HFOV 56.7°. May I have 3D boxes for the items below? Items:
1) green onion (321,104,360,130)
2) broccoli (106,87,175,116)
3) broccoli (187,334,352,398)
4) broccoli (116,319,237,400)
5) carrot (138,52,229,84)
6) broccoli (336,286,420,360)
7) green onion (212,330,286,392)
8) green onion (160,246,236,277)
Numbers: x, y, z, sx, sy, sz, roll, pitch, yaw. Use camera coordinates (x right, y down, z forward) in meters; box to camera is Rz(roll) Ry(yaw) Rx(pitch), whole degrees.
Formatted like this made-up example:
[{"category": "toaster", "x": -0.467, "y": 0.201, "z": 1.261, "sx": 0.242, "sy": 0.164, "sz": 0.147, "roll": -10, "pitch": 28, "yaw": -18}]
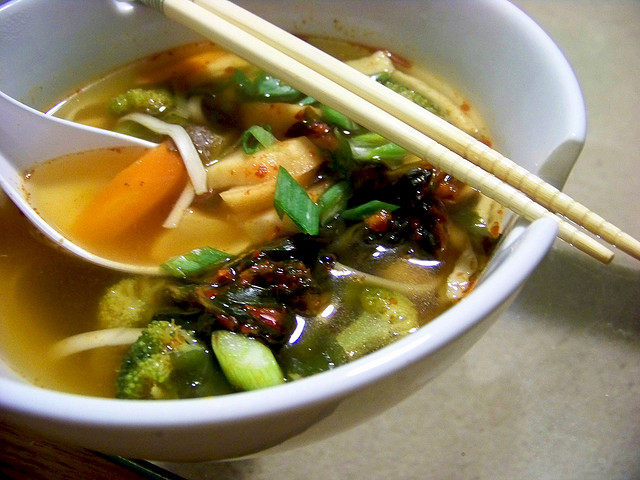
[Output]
[{"category": "green onion", "x": 0.052, "y": -0.321, "z": 1.570, "sx": 0.088, "sy": 0.075, "sz": 0.031, "roll": 39, "pitch": 102, "yaw": 25}, {"category": "broccoli", "x": -0.527, "y": -0.409, "z": 1.738, "sx": 0.261, "sy": 0.068, "sz": 0.162, "roll": 7, "pitch": 18, "yaw": 24}, {"category": "broccoli", "x": -0.118, "y": 0.251, "z": 1.292, "sx": 0.366, "sy": 0.046, "sz": 0.127, "roll": -9, "pitch": 64, "yaw": -7}, {"category": "broccoli", "x": -0.298, "y": 0.234, "z": 1.388, "sx": 0.328, "sy": 0.338, "sz": 0.123, "roll": -5, "pitch": 103, "yaw": -13}, {"category": "carrot", "x": -0.420, "y": -0.532, "z": 1.838, "sx": 0.307, "sy": 0.029, "sz": 0.038, "roll": -15, "pitch": 24, "yaw": 15}, {"category": "broccoli", "x": 0.139, "y": 0.196, "z": 1.352, "sx": 0.153, "sy": 0.035, "sz": 0.201, "roll": 23, "pitch": 64, "yaw": 9}, {"category": "green onion", "x": -0.159, "y": 0.253, "z": 1.285, "sx": 0.116, "sy": 0.038, "sz": 0.155, "roll": -20, "pitch": 65, "yaw": -12}, {"category": "green onion", "x": -0.297, "y": 0.051, "z": 1.440, "sx": 0.144, "sy": 0.025, "sz": 0.073, "roll": -13, "pitch": 65, "yaw": -4}]
